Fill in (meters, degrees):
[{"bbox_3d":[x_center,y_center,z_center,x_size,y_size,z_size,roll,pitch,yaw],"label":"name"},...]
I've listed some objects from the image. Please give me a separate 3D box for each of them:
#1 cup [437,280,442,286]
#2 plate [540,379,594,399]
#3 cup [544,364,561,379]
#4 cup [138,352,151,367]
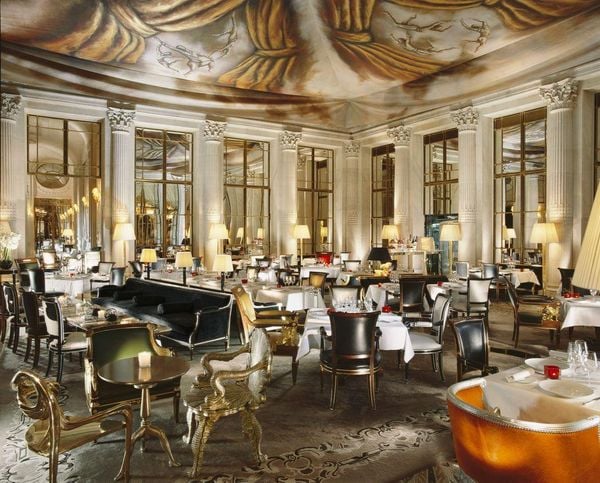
[{"bbox_3d":[2.675,0.788,8.582,0.073,0.084,0.083,-2,-5,31],"label":"cup"},{"bbox_3d":[1.585,0.870,2.657,0.238,0.054,0.241,-2,4,-25],"label":"plate"},{"bbox_3d":[1.620,0.818,2.881,0.104,0.065,0.091,-2,-1,-12],"label":"cup"},{"bbox_3d":[-1.262,0.950,3.677,0.088,0.131,0.138,-2,5,-22],"label":"cup"}]
